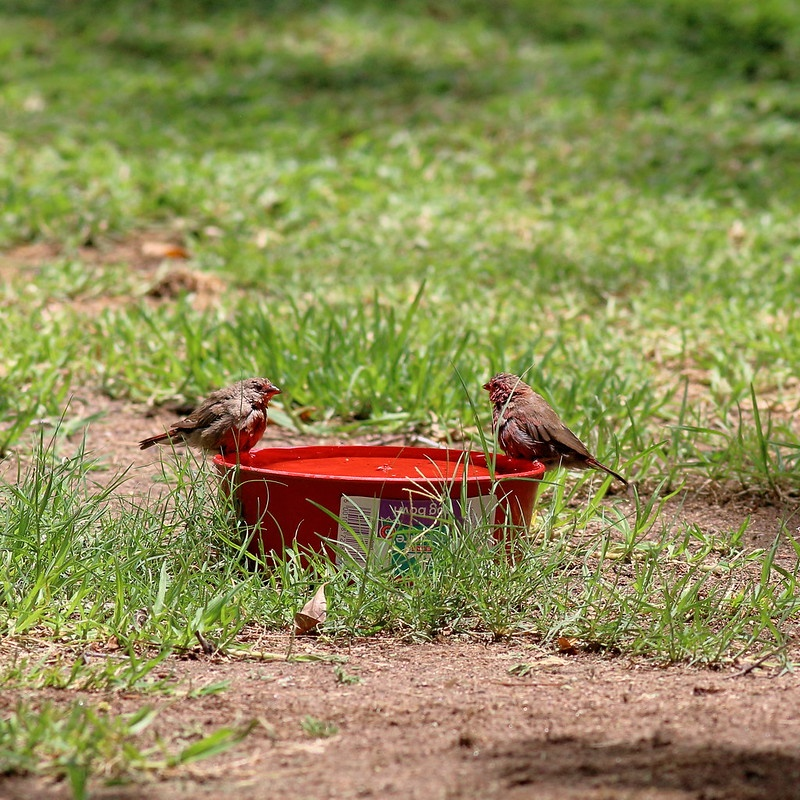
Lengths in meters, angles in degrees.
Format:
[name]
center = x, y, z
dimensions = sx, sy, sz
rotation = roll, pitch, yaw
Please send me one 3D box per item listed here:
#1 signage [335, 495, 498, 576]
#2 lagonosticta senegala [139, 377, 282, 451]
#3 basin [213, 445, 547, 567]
[signage]
center = -0.017, 0.422, 3.348
dimensions = 0.632, 0.166, 0.475
rotation = 1, -13, -9
[lagonosticta senegala]
center = -0.613, 0.068, 3.681
dimensions = 0.522, 0.231, 0.221
rotation = -6, -8, 18
[basin]
center = -0.057, 0.327, 3.538
dimensions = 1.058, 0.250, 0.894
rotation = 2, 5, -3
